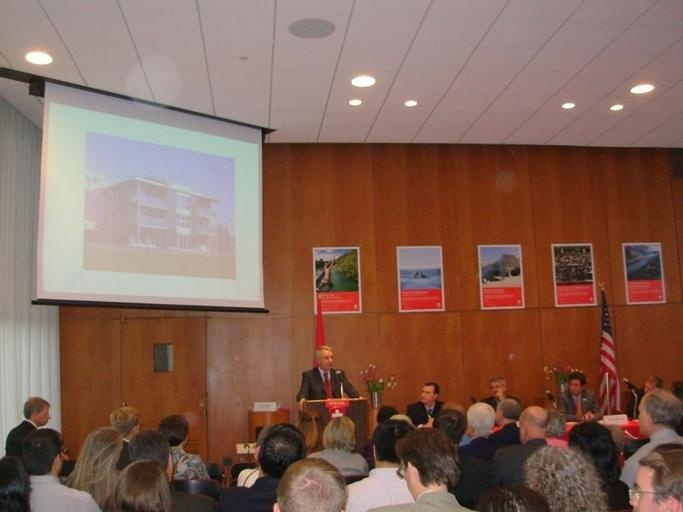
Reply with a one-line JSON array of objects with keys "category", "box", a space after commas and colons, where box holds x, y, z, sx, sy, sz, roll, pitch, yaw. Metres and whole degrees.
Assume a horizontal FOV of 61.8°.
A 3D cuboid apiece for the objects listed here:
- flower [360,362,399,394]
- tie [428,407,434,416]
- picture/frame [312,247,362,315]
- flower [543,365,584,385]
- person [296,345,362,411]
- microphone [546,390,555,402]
[{"category": "flower", "box": [0.493, 1.658, 7.870, 0.437, 0.314, 0.448, 1, -8, 7]}, {"category": "tie", "box": [1.114, 1.946, 7.110, 0.094, 0.034, 0.137, 1, 0, 16]}, {"category": "picture/frame", "box": [-0.088, 0.402, 8.246, 0.928, 1.273, 0.064, 0, -12, -12]}, {"category": "flower", "box": [3.150, 1.717, 8.228, 0.403, 0.272, 0.413, -1, -5, 15]}, {"category": "person", "box": [-0.200, 1.517, 6.836, 0.849, 1.183, 0.631, 2, -13, -11]}, {"category": "microphone", "box": [2.970, 1.997, 8.080, 0.084, 0.115, 0.285, -3, -24, 21]}]
